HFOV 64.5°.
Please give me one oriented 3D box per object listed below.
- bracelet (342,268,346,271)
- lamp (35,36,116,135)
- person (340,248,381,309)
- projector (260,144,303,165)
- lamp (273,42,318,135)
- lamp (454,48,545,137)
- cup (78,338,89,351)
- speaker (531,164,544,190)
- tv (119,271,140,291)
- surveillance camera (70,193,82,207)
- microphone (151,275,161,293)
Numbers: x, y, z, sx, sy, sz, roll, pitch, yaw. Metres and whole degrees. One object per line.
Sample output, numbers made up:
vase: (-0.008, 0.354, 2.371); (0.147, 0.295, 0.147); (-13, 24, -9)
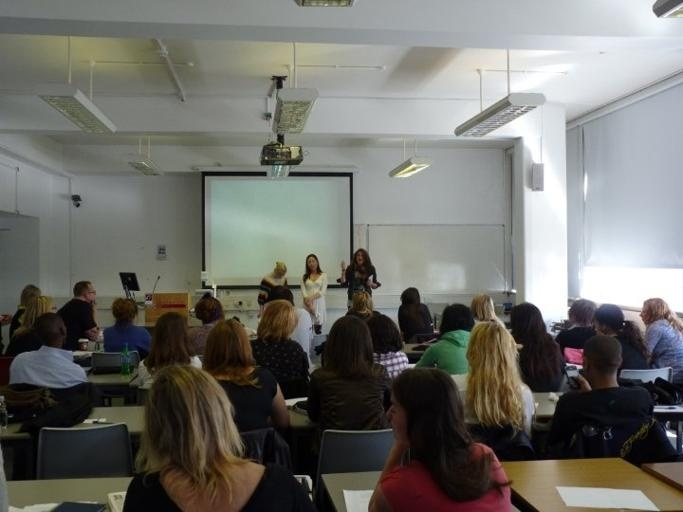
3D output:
bracelet: (0.042, 0.203, 8.322); (0.036, 0.041, 0.037); (-1, 5, -29)
lamp: (-2.664, -1.636, 5.387); (0.366, 0.609, 1.202); (0, -7, -12)
person: (0.265, 0.568, 8.067); (0.649, 1.328, 0.513); (3, 8, 4)
projector: (-0.722, -1.249, 6.500); (0.458, 0.289, 0.482); (0, -2, -13)
lamp: (-0.472, -1.573, 5.456); (0.342, 0.615, 1.073); (0, -1, -3)
lamp: (1.669, -1.717, 5.839); (0.405, 0.644, 1.375); (2, -2, -10)
cup: (-2.764, 0.948, 5.827); (0.111, 0.115, 0.113); (0, -5, 0)
speaker: (2.686, -1.083, 7.418); (0.139, 0.371, 0.119); (-1, -2, 16)
tv: (-3.222, 0.388, 8.242); (0.352, 0.337, 0.095); (2, 8, 15)
surveillance camera: (-4.546, -0.956, 9.236); (0.179, 0.250, 0.130); (-10, -10, 36)
microphone: (-3.231, 0.491, 9.534); (0.149, 0.289, 0.159); (10, -11, 9)
